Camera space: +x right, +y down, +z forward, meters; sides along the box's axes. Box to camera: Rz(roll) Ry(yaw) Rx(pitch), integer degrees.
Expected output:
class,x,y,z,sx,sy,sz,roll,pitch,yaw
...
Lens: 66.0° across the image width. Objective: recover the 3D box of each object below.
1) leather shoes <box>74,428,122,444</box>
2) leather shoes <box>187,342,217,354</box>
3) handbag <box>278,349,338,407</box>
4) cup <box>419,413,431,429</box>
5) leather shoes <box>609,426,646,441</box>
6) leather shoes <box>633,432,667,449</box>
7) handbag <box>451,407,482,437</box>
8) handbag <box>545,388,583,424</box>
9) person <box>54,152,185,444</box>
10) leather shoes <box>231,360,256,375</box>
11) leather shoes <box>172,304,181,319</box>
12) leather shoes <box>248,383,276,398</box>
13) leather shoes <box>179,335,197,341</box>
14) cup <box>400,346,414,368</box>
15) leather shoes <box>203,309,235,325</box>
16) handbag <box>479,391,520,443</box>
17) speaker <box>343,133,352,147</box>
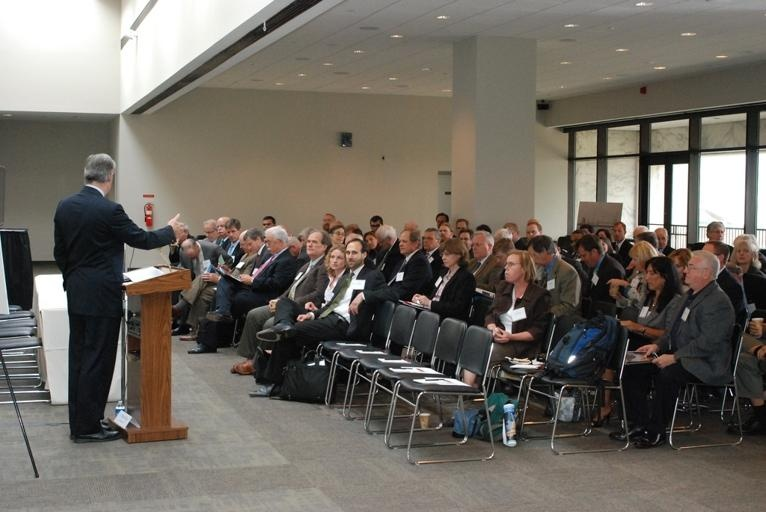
class,x,y,z,sx,sy,sz,roll,pitch,yaw
leather shoes,-2.345,1.483,4.842,0.340,0.137,0.122,-2,3,-19
leather shoes,-2.483,1.275,8.129,0.410,0.177,0.147,5,-8,-13
handbag,-0.742,1.227,6.093,0.610,0.497,0.315,-2,-7,18
cup,0.379,1.471,5.287,0.127,0.093,0.124,-1,-4,0
leather shoes,2.101,1.525,5.055,0.292,0.113,0.110,0,-6,18
leather shoes,2.241,1.539,4.925,0.264,0.093,0.113,2,-13,-16
handbag,0.720,1.435,5.057,0.198,0.115,0.272,1,5,-1
handbag,1.688,1.405,5.520,0.286,0.274,0.281,6,-5,30
person,-2.267,0.349,4.832,0.767,2.322,0.336,-1,6,-16
leather shoes,-1.684,1.340,7.090,0.293,0.111,0.170,4,-3,2
leather shoes,-3.210,0.859,9.113,0.138,0.278,0.393,2,6,-16
leather shoes,-1.256,1.421,6.225,0.333,0.127,0.121,2,-9,1
leather shoes,-2.919,1.222,8.790,0.232,0.088,0.114,4,-8,-10
cup,0.250,0.999,6.112,0.145,0.167,0.177,-2,11,4
leather shoes,-2.180,0.787,7.866,0.400,0.144,0.275,8,17,-3
handbag,1.002,1.377,5.040,0.337,0.360,0.361,0,35,-5
speaker,-0.999,-3.215,16.249,0.346,0.456,0.254,2,11,4
